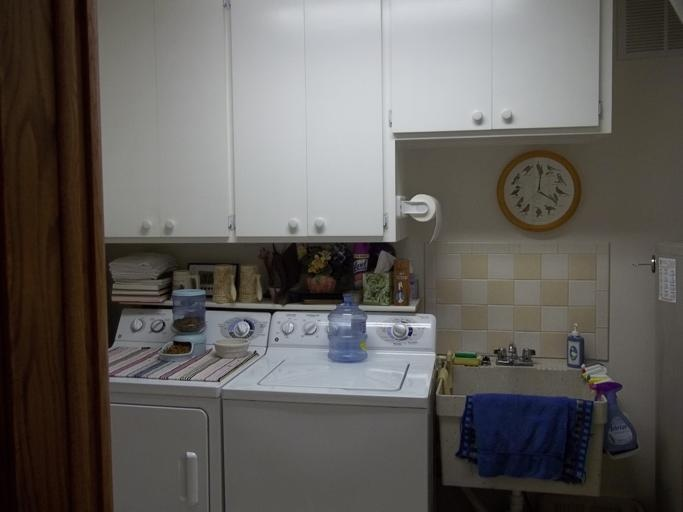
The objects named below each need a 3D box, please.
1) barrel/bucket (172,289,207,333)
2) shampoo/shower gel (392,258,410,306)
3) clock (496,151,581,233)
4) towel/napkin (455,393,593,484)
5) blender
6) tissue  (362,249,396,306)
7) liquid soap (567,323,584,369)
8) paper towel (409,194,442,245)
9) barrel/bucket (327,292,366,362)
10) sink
[{"bbox_3d":[-0.695,0.253,2.528,0.160,0.205,0.178,0,-3,-2],"label":"barrel/bucket"},{"bbox_3d":[0.279,0.125,2.585,0.079,0.207,0.083,3,9,6],"label":"shampoo/shower gel"},{"bbox_3d":[0.938,-0.305,2.643,0.378,0.396,0.047,4,9,13],"label":"clock"},{"bbox_3d":[0.665,0.670,2.021,0.474,0.323,0.082,4,9,7],"label":"towel/napkin"},{"bbox_3d":[-0.711,0.312,2.487,0.150,0.305,0.165,4,9,16],"label":"blender"},{"bbox_3d":[0.172,0.092,2.635,0.209,0.252,0.217,8,8,37],"label":"tissue "},{"bbox_3d":[1.108,0.427,2.610,0.086,0.189,0.121,6,10,26],"label":"liquid soap"},{"bbox_3d":[0.369,-0.165,2.496,0.144,0.224,0.201,-2,-1,24],"label":"paper towel"},{"bbox_3d":[0.026,0.319,2.478,0.221,0.309,0.239,0,3,0],"label":"barrel/bucket"},{"bbox_3d":[0.706,0.449,2.282,0.451,0.351,0.322,1,2,23],"label":"sink"}]
